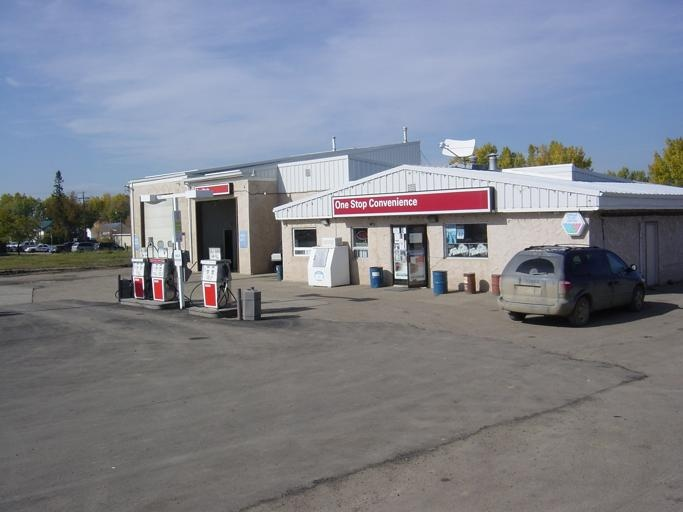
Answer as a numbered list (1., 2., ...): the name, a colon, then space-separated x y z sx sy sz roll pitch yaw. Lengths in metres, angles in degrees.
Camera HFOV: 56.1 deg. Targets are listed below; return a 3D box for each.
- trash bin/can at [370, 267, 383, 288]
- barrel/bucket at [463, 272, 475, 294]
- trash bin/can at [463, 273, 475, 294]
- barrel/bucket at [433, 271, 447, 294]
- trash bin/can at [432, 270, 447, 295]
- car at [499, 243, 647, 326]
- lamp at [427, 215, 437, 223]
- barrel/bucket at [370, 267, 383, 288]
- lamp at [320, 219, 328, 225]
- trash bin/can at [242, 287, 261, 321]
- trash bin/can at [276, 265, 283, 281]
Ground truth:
1. trash bin/can: 1.439 0.824 25.460 0.627 0.758 0.659 -1 4 5
2. barrel/bucket: 4.540 0.928 22.496 0.395 0.669 0.722 0 7 10
3. trash bin/can: 4.538 0.929 22.487 0.395 0.669 0.703 0 7 10
4. barrel/bucket: 3.518 0.926 22.730 0.477 0.763 0.665 -1 7 5
5. trash bin/can: 3.459 0.939 22.890 0.628 0.770 0.682 -1 -2 27
6. car: 5.938 0.695 16.207 3.444 1.829 1.464 -5 8 -24
7. lamp: 3.471 -1.397 24.046 0.460 0.282 0.077 5 9 42
8. barrel/bucket: 1.400 0.830 25.319 0.449 0.772 0.597 0 7 13
9. lamp: -0.703 -1.462 27.919 0.360 0.276 0.194 -2 -4 39
10. trash bin/can: -2.572 1.392 18.298 0.544 0.835 0.405 -1 7 6
11. trash bin/can: -2.837 0.763 30.022 0.278 0.637 0.565 -3 7 -11
